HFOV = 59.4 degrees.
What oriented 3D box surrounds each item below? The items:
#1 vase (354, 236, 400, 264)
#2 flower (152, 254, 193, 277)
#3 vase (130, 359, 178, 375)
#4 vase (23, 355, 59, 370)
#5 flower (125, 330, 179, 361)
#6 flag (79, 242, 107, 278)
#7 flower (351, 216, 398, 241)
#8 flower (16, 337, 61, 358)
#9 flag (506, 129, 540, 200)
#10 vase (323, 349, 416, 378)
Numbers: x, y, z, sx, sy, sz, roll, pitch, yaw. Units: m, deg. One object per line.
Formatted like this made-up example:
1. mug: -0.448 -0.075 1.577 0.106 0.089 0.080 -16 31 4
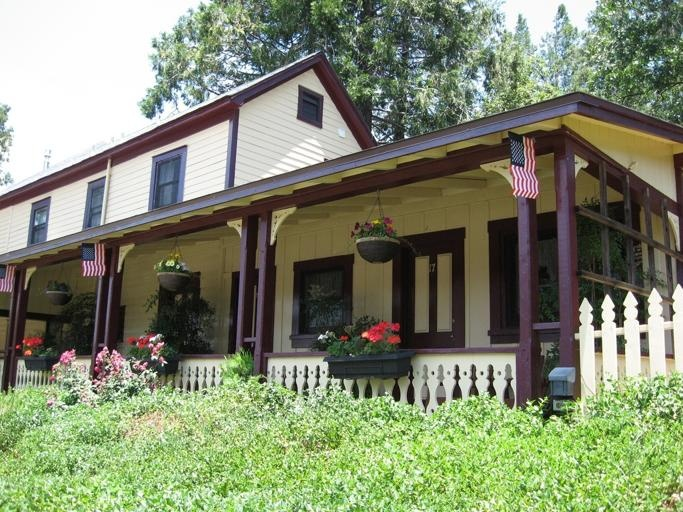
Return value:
1. vase: 0.541 -0.113 9.081 0.644 0.322 0.380 0 -14 -1
2. flower: -3.343 0.208 11.773 0.526 0.337 0.483 -4 -16 34
3. vase: -3.277 1.972 10.744 0.638 0.230 0.416 -5 -8 41
4. vase: -6.577 2.328 13.122 0.558 0.184 0.361 -13 -25 35
5. flower: -3.492 1.682 10.879 0.856 0.426 0.643 3 -1 36
6. flag: -4.944 0.051 11.924 0.477 0.688 0.358 6 -15 -24
7. flower: 0.593 -0.407 9.198 0.498 0.293 0.513 -1 -2 31
8. flower: -7.206 2.172 14.077 0.736 0.632 0.876 0 -8 16
9. flag: 2.101 -1.079 7.043 0.536 0.808 0.223 12 -18 -41
10. vase: 0.384 1.486 8.185 1.289 0.352 0.378 -11 -17 38
